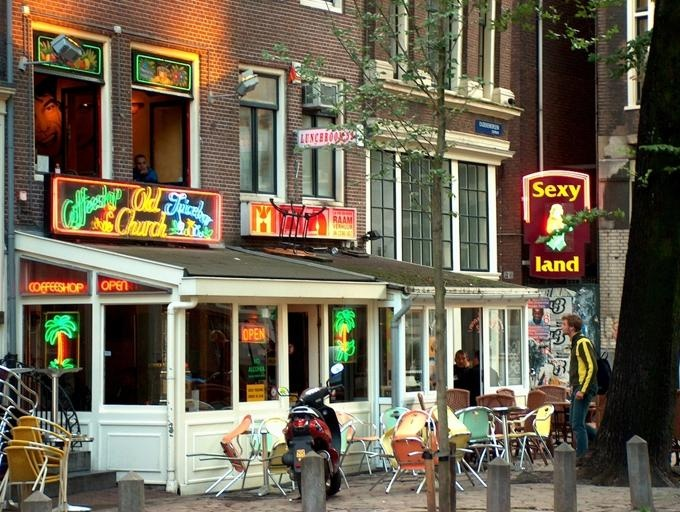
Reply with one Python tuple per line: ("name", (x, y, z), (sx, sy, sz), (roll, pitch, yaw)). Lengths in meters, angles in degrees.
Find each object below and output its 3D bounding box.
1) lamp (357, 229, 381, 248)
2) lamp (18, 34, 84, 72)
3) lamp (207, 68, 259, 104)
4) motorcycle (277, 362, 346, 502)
("lamp", (0.613, -0.322, 26.237), (0.359, 0.324, 0.407), (-4, -7, 14))
("lamp", (-4.447, -3.219, 21.397), (1.063, 0.710, 0.655), (1, -7, -28))
("lamp", (-1.822, -2.985, 23.952), (0.825, 0.438, 0.514), (-19, -5, 8))
("motorcycle", (-0.568, 2.560, 19.485), (0.830, 1.363, 1.859), (-5, -5, 8))
